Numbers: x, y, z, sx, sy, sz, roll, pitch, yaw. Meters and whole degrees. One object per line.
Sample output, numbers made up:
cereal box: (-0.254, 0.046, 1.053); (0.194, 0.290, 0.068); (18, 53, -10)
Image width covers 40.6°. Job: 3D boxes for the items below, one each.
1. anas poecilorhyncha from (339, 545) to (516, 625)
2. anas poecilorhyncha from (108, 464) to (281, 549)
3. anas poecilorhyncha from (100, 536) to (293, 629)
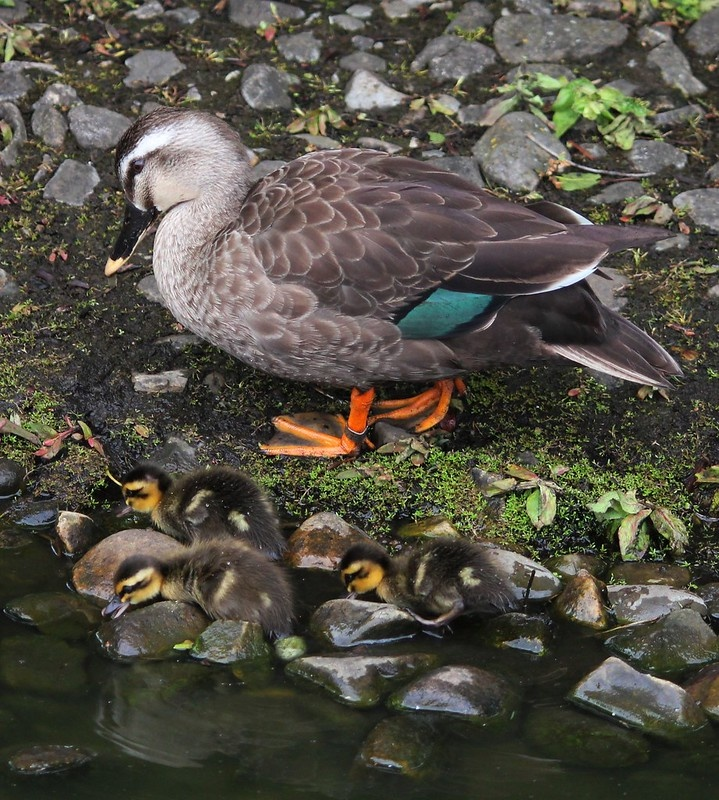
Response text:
anas poecilorhyncha: (0.255, 0.598, 3.367); (0.657, 0.257, 0.237); (-2, 34, 34)
anas poecilorhyncha: (-0.571, 0.386, 3.713); (0.675, 0.265, 0.266); (13, 27, 10)
anas poecilorhyncha: (-0.509, 0.616, 3.343); (0.641, 0.230, 0.261); (1, 12, 10)
